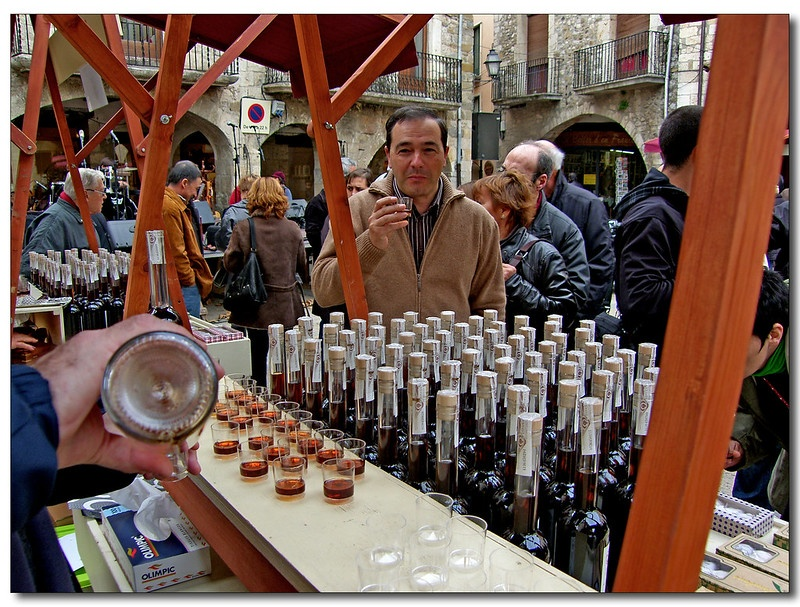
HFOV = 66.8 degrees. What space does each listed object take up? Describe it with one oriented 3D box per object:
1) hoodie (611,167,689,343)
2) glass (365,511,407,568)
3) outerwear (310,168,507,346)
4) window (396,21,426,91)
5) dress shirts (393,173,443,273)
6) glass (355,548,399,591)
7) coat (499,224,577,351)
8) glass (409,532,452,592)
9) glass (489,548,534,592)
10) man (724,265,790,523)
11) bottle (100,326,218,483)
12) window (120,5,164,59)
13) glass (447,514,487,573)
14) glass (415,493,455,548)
[{"bbox_3d":[1.284,-0.248,3.171,0.331,0.923,0.374,5,6,25],"label":"hoodie"},{"bbox_3d":[-0.036,0.555,1.413,0.078,0.099,0.088,0,-8,-1],"label":"glass"},{"bbox_3d":[0.027,-0.200,3.049,1.108,1.186,0.670,-1,6,-10],"label":"outerwear"},{"bbox_3d":[0.446,-7.907,19.472,0.812,2.198,1.609,3,5,2],"label":"window"},{"bbox_3d":[0.108,-0.379,2.909,0.284,0.423,0.171,2,0,-2],"label":"dress shirts"},{"bbox_3d":[-0.052,0.570,1.340,0.077,0.093,0.091,2,-2,-11],"label":"glass"},{"bbox_3d":[0.804,-0.116,3.601,0.218,0.610,0.573,-8,3,6],"label":"coat"},{"bbox_3d":[0.073,0.573,1.382,0.102,0.169,0.098,0,3,10],"label":"glass"},{"bbox_3d":[0.242,0.567,1.317,0.075,0.092,0.081,4,-11,-24],"label":"glass"},{"bbox_3d":[1.448,0.392,2.416,0.231,1.048,0.626,6,7,36],"label":"man"},{"bbox_3d":[-0.407,0.185,1.135,0.138,0.258,0.243,-1,-1,0],"label":"bottle"},{"bbox_3d":[-6.765,-6.873,15.895,0.881,1.509,2.486,0,6,-25],"label":"window"},{"bbox_3d":[0.156,0.566,1.432,0.087,0.110,0.100,1,-13,3],"label":"glass"},{"bbox_3d":[0.081,0.521,1.440,0.081,0.100,0.090,0,-6,2],"label":"glass"}]
